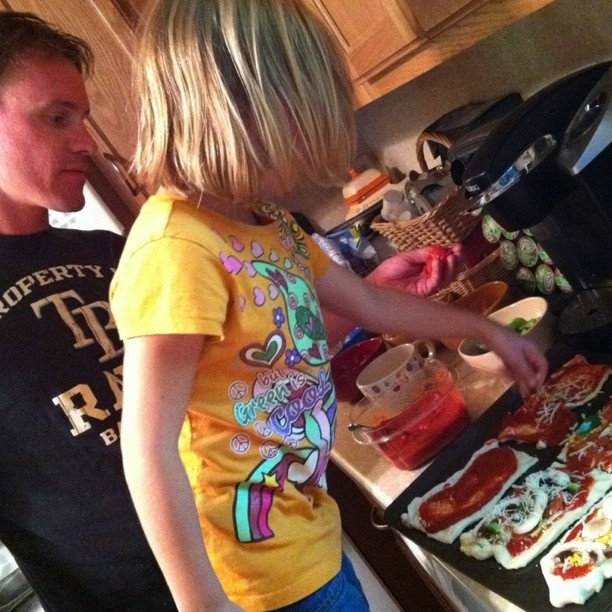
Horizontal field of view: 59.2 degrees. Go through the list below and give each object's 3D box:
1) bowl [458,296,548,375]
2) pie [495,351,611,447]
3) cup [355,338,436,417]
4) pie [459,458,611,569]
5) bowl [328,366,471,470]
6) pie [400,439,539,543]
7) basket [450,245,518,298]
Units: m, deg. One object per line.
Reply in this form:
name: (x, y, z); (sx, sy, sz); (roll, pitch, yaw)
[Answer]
bowl: (0.344, 0.035, 0.945); (0.144, 0.067, 0.141); (-34, 15, 10)
pie: (0.369, 0.141, 0.788); (0.165, 0.026, 0.096); (-32, 22, -15)
cup: (0.142, 0.141, 0.954); (0.144, 0.094, 0.103); (-32, 20, 11)
pie: (0.283, 0.261, 0.649); (0.165, 0.025, 0.097); (-31, 16, -10)
bowl: (0.166, 0.202, 0.905); (0.198, 0.107, 0.161); (-37, 18, 13)
pie: (0.231, 0.248, 0.738); (0.163, 0.031, 0.104); (-30, 13, -16)
basket: (0.382, -0.073, 1.153); (0.125, 0.036, 0.089); (-15, 23, -10)
